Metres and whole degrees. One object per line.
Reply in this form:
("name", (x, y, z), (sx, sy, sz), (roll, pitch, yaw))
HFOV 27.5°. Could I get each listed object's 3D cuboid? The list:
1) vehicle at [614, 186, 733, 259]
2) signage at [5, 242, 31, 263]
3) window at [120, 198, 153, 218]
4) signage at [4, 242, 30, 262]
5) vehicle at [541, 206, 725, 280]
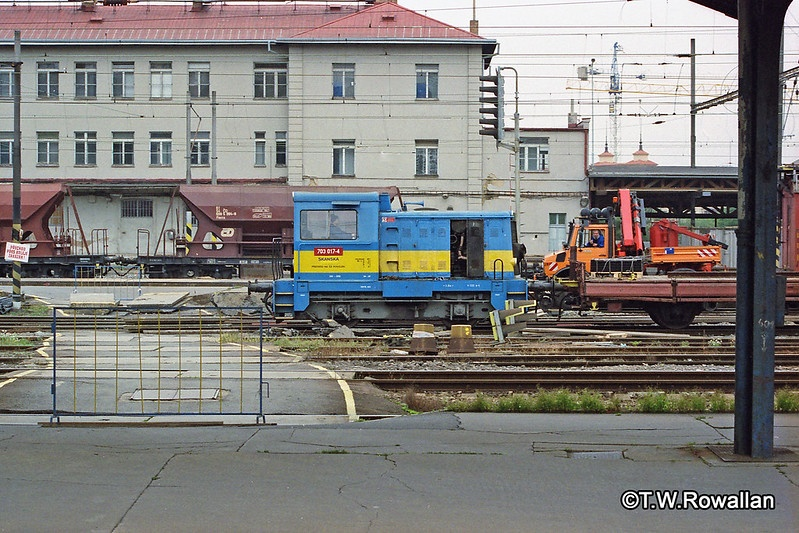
("vehicle", (12.892, -1.798, 75.753), (5.015, 2.197, 2.519), (6, -3, 15))
("signage", (-17.719, -0.570, 75.280), (1.325, 0.920, 0.164), (0, 4, -10))
("window", (-15.217, -3.272, 93.380), (1.400, 0.802, 0.108), (0, 1, -10))
("signage", (-17.668, -0.573, 75.052), (1.244, 0.864, 0.160), (0, 5, -8))
("vehicle", (10.906, -0.814, 76.054), (8.560, 3.213, 2.493), (0, 11, -5))
